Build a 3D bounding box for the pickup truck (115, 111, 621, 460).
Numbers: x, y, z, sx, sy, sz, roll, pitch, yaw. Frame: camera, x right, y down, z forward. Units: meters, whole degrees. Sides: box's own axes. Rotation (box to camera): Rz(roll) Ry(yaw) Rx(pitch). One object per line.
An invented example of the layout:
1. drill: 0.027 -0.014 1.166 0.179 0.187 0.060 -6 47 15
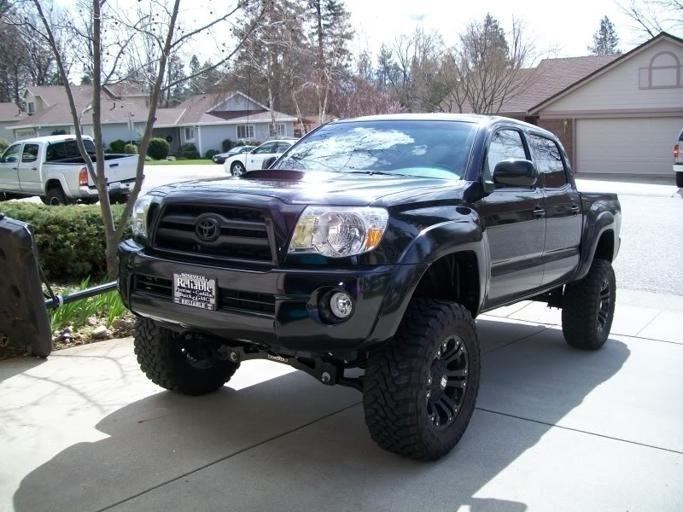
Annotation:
1. pickup truck: 0.842 -0.038 4.943 2.809 2.280 5.194 4 6 37
